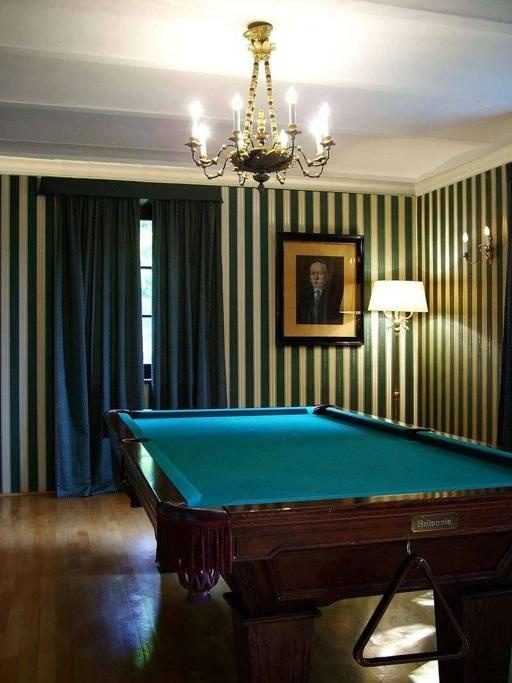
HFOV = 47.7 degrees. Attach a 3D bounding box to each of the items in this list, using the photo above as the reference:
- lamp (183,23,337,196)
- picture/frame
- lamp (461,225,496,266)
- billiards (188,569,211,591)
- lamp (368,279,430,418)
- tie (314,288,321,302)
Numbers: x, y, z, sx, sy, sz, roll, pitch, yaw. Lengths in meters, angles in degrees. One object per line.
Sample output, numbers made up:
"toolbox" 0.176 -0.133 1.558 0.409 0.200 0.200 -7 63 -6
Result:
"lamp" 0.013 -1.088 2.634 0.508 0.648 0.511 18 33 35
"picture/frame" 0.504 -0.437 5.059 0.846 1.229 0.079 0 1 -12
"lamp" 1.703 -0.727 4.403 0.154 0.352 0.325 2 -2 -12
"billiards" -0.111 0.461 1.147 0.038 0.038 0.043 7 -12 -36
"lamp" 1.242 0.090 5.087 0.494 1.289 0.836 -1 -2 17
"tie" 0.539 -0.402 5.057 0.066 0.099 0.006 0 -2 -7
